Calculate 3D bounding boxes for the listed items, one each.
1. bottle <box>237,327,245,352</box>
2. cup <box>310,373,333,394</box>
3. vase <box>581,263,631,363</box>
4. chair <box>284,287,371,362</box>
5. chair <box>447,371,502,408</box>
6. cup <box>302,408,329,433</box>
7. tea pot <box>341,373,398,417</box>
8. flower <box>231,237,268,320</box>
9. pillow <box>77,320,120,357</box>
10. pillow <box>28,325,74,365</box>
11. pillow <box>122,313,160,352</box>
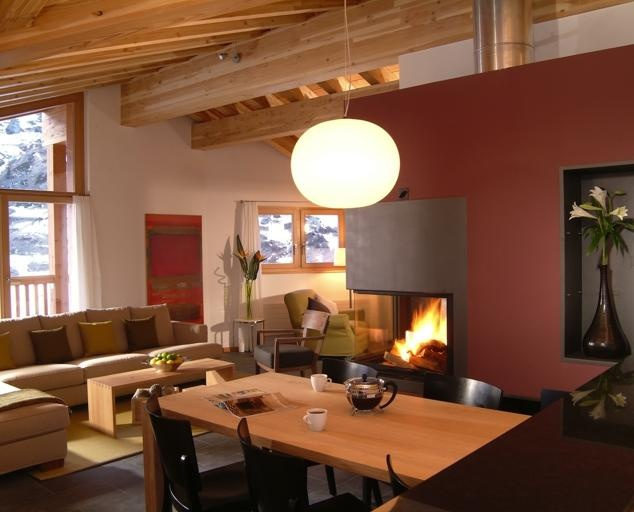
[{"bbox_3d":[-1.208,1.316,8.143,0.135,0.375,0.066,-11,-7,-9],"label":"bottle"},{"bbox_3d":[0.025,0.662,2.676,0.107,0.069,0.086,2,-4,-24],"label":"cup"},{"bbox_3d":[1.564,0.315,2.849,0.238,0.512,0.181,-14,-7,18],"label":"vase"},{"bbox_3d":[0.147,0.977,7.077,1.101,1.059,1.025,-4,-2,6],"label":"chair"},{"bbox_3d":[0.769,0.637,2.486,0.178,0.205,0.167,13,-14,-40],"label":"chair"},{"bbox_3d":[-0.010,0.660,2.063,0.091,0.060,0.075,1,-4,-27],"label":"cup"},{"bbox_3d":[0.235,0.615,2.285,0.233,0.130,0.153,0,-2,1],"label":"tea pot"},{"bbox_3d":[-1.017,0.283,8.018,0.452,1.346,0.503,-11,-7,-9],"label":"flower"},{"bbox_3d":[-2.431,0.922,5.690,0.213,0.352,0.415,5,5,36],"label":"pillow"},{"bbox_3d":[-2.759,0.922,5.270,0.341,0.306,0.176,-13,16,-43],"label":"pillow"},{"bbox_3d":[-2.098,0.907,6.038,0.415,0.383,0.146,-2,-13,-42],"label":"pillow"}]
